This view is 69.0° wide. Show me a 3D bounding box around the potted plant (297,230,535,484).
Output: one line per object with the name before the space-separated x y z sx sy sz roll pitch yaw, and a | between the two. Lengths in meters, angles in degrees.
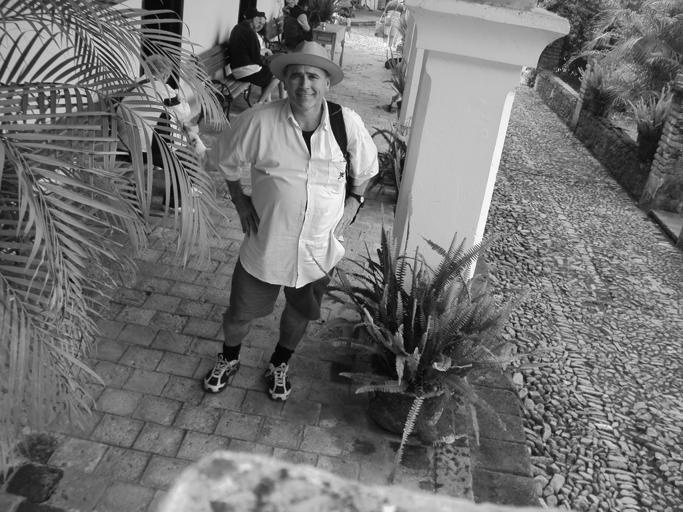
potted plant | 0.186 0.713 3.155 1.260 0.988 0.928 35 42 -43

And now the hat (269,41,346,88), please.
hat | -0.190 -1.028 2.683 0.391 0.259 0.302 5 33 -8

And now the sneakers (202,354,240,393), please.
sneakers | -0.752 0.731 3.264 0.131 0.156 0.351 30 31 -2

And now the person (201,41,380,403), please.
person | -0.326 -0.114 2.921 0.921 2.059 0.583 7 30 -2

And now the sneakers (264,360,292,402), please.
sneakers | -0.402 0.807 3.201 0.121 0.115 0.268 0 35 -15

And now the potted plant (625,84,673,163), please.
potted plant | 5.472 -2.555 8.871 0.486 1.088 2.790 21 35 21

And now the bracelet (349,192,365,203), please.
bracelet | 0.098 -0.363 3.092 0.109 0.039 0.041 33 38 -47

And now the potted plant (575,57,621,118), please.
potted plant | 5.734 -3.648 10.928 0.651 0.874 1.411 13 33 7

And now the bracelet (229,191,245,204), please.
bracelet | -0.599 -0.345 2.872 0.060 0.066 0.067 3 23 8
